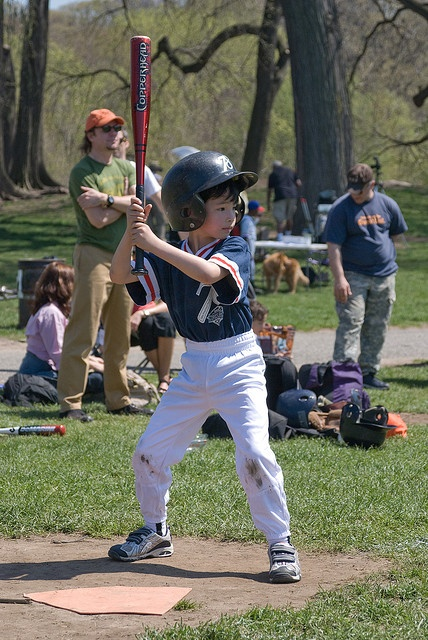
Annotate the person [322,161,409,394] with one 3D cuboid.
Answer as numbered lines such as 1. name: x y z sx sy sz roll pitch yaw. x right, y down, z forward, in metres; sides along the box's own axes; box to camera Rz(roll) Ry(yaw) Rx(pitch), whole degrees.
1. person: 1.122 -0.308 8.874 0.472 1.812 0.996 4 8 24

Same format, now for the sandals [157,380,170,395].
1. sandals: -0.395 0.518 8.570 0.135 0.107 0.382 0 0 -6

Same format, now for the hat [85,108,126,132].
1. hat: -0.740 -1.352 7.577 0.212 0.102 0.143 -7 3 37

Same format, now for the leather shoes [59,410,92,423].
1. leather shoes: -0.930 0.660 7.716 0.231 0.097 0.084 -2 0 18

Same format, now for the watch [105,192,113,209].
1. watch: -0.698 -0.793 7.566 0.052 0.080 0.074 5 -11 -35

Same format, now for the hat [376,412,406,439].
1. hat: 1.199 0.697 7.445 0.141 0.071 0.183 6 22 1

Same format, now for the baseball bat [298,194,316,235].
1. baseball bat: 1.253 -1.320 15.257 0.127 0.147 0.854 -8 -44 16

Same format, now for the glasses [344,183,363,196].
1. glasses: 1.068 -0.997 8.567 0.114 0.085 0.075 2 8 8

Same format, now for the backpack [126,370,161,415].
1. backpack: -0.544 0.541 8.465 0.290 0.115 0.223 31 4 3

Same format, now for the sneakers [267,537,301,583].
1. sneakers: 0.297 1.052 4.887 0.161 0.172 0.405 -1 -4 2

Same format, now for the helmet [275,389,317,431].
1. helmet: 0.536 0.600 7.535 0.275 0.222 0.201 -9 11 29

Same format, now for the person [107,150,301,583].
1. person: -0.033 0.188 5.033 0.927 1.860 0.526 3 8 12

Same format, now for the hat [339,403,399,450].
1. hat: 0.946 0.676 7.062 0.221 0.203 0.298 6 2 -18

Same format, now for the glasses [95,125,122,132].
1. glasses: -0.681 -1.293 7.628 0.087 0.054 0.212 5 8 27

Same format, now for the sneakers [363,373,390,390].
1. sneakers: 1.347 0.518 9.263 0.252 0.112 0.092 1 -1 13

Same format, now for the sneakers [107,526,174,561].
1. sneakers: -0.327 1.039 5.216 0.314 0.149 0.119 1 -3 -25
